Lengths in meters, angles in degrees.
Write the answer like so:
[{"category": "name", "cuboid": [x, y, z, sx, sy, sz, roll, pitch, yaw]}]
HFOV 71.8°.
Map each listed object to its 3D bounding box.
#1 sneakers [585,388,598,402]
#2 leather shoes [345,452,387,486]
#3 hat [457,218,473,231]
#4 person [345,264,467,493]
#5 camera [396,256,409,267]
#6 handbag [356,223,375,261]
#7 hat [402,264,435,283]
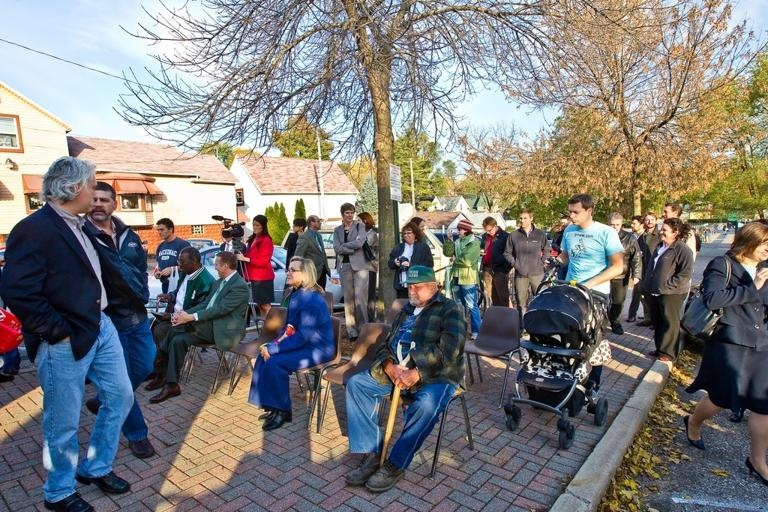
[{"category": "sneakers", "cuboid": [2.717, 1.782, 6.861, 0.167, 0.156, 0.146, 7, -10, -40]}, {"category": "leather shoes", "cuboid": [-0.215, 2.373, 5.987, 0.520, 0.260, 0.185, -4, 5, -43]}, {"category": "hat", "cuboid": [1.603, -0.608, 10.488, 0.251, 0.203, 0.189, 32, 24, 10]}, {"category": "person", "cuboid": [0.223, 1.307, 6.123, 1.493, 2.236, 0.934, -12, 18, -41]}, {"category": "camera", "cuboid": [0.326, 0.094, 9.216, 0.152, 0.183, 0.165, -2, 5, -44]}, {"category": "handbag", "cuboid": [-0.344, -0.173, 9.833, 0.136, 0.525, 0.304, -3, -3, -20]}, {"category": "hat", "cuboid": [0.472, 0.216, 6.340, 0.202, 0.142, 0.282, -8, -10, 44]}]
